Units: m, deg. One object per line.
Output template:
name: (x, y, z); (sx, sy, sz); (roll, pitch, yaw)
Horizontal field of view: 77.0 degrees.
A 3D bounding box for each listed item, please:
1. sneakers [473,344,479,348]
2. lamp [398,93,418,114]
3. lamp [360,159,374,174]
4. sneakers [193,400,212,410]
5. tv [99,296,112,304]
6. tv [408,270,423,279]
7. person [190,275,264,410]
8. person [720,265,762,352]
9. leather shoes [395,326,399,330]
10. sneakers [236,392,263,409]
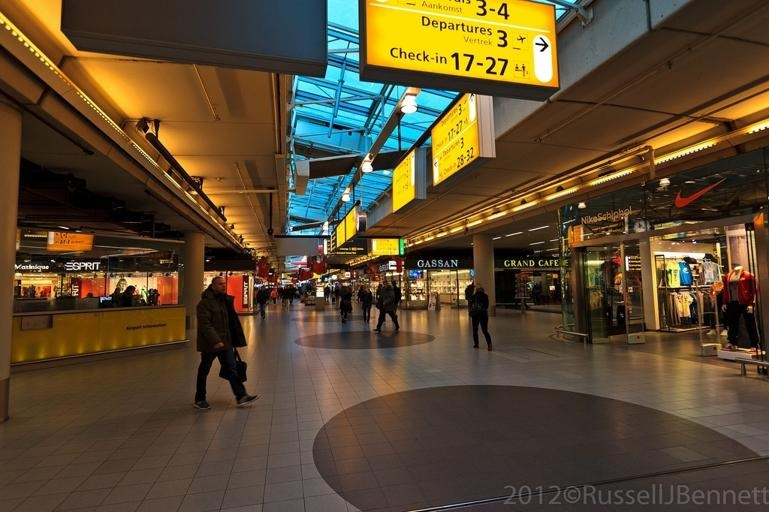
sneakers: (2.272, 2.309, 12.315); (0.074, 0.120, 0.138); (3, 4, 28)
lamp: (0.383, -2.747, 8.554); (0.292, 0.325, 0.565); (-1, 4, 0)
lamp: (-0.413, -2.352, 12.567); (0.418, 0.406, 0.388); (-4, 1, -16)
sneakers: (-2.908, 2.350, 7.629); (0.334, 0.114, 0.167); (1, 5, 23)
tv: (-7.009, 1.101, 12.175); (0.261, 0.112, 0.573); (-4, 5, -34)
tv: (1.958, 1.178, 31.202); (0.925, 0.584, 0.508); (0, 4, 7)
person: (-2.592, 1.391, 7.662); (0.845, 2.017, 0.457); (-3, 5, -24)
person: (7.159, 1.081, 9.815); (0.345, 1.675, 0.833); (-1, 4, -4)
leather shoes: (0.335, 2.413, 16.022); (0.182, 0.157, 0.097); (0, 2, 30)
sneakers: (-2.191, 2.340, 7.827); (0.389, 0.151, 0.134); (-5, -8, -21)
